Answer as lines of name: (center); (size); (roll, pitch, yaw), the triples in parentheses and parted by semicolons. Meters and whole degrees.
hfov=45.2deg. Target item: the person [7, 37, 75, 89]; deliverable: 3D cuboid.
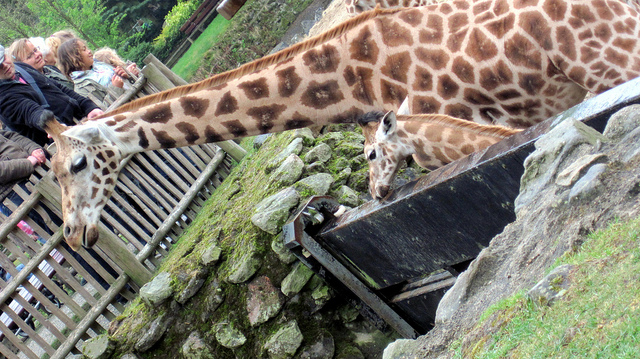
person: (-4.733, -2.085, 12.690); (0.422, 1.053, 0.794); (-61, -18, 12)

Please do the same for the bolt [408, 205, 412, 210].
bolt: (1.125, 0.330, 9.549); (0.064, 0.056, 0.015); (1, 8, 21)

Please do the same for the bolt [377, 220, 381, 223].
bolt: (0.757, 0.525, 9.759); (0.018, 0.034, 0.068); (-2, 0, -35)

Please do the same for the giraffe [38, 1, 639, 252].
giraffe: (0.263, -0.585, 10.283); (6.393, 1.255, 3.205); (-21, -31, 19)

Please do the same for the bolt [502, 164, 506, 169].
bolt: (2.182, -0.167, 9.068); (0.045, 0.041, 0.013); (1, -9, 12)

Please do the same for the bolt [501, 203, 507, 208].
bolt: (2.213, 0.299, 9.199); (0.045, 0.058, 0.017); (-6, -11, 22)

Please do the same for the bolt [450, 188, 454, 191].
bolt: (1.609, 0.111, 9.317); (0.037, 0.035, 0.011); (-2, -3, 16)

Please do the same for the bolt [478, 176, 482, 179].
bolt: (1.919, -0.039, 9.178); (0.033, 0.033, 0.008); (-52, -17, -11)

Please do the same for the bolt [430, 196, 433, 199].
bolt: (1.372, 0.207, 9.419); (0.039, 0.038, 0.011); (-6, -11, 17)

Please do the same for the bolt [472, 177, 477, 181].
bolt: (1.860, -0.019, 9.201); (0.033, 0.041, 0.015); (-3, -2, 23)

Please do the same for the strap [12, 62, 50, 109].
strap: (-4.454, -1.431, 11.784); (0.114, 0.849, 0.279); (-30, -13, -30)
